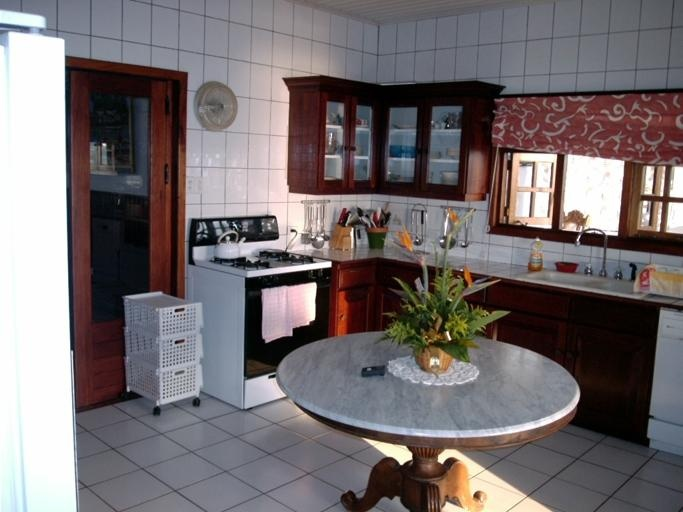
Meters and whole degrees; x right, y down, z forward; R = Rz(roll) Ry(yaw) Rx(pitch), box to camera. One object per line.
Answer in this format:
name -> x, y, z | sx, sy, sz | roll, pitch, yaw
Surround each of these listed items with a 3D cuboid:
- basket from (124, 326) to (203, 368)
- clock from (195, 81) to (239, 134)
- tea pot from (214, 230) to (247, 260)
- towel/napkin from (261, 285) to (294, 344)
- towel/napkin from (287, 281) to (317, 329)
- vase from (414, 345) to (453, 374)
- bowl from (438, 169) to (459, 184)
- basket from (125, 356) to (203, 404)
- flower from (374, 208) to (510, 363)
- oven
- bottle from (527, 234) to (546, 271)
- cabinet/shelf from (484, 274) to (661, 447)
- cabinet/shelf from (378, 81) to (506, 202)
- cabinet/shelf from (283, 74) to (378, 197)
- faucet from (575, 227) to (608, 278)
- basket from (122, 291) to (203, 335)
basket -> -1.291, 0.613, 3.812 | 0.341, 0.219, 0.346 | 7, 2, 40
clock -> -1.025, -1.203, 4.120 | 0.349, 0.364, 0.081 | -20, 23, -38
tea pot -> -0.942, -0.096, 4.197 | 0.226, 0.224, 0.330 | 0, 9, -13
towel/napkin -> -0.507, 0.427, 3.857 | 0.078, 0.485, 0.406 | 6, 8, 44
towel/napkin -> -0.319, 0.375, 4.026 | 0.088, 0.307, 0.295 | 4, 9, 37
vase -> 0.421, 0.454, 2.354 | 0.131, 0.098, 0.142 | 2, 7, 10
bowl -> 0.940, -0.698, 4.498 | 0.110, 0.092, 0.120 | 1, 11, 0
basket -> -1.367, 0.922, 3.866 | 0.403, 0.270, 0.413 | 8, 9, 30
flower -> 0.470, 0.119, 2.416 | 0.653, 0.730, 0.632 | -8, 17, -19
oven -> -0.575, 0.564, 4.261 | 0.865, 1.053, 0.794 | -1, 8, -17
bottle -> 1.652, -0.014, 4.315 | 0.116, 0.266, 0.231 | 5, 10, 22
cabinet/shelf -> 1.512, 0.670, 3.206 | 1.042, 0.912, 0.406 | 6, 7, 41
cabinet/shelf -> 0.937, -1.046, 4.591 | 1.054, 1.068, 0.485 | 5, 5, 39
cabinet/shelf -> -0.143, -1.102, 4.622 | 1.070, 1.200, 0.454 | -3, 5, -41
faucet -> 1.983, -0.033, 4.043 | 0.247, 0.382, 0.280 | 6, 10, 28
basket -> -1.377, 0.404, 3.799 | 0.361, 0.218, 0.360 | -4, 15, -40
